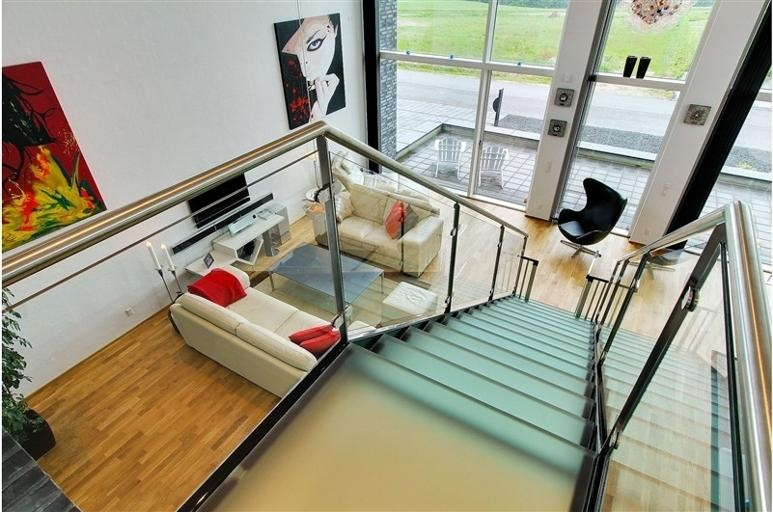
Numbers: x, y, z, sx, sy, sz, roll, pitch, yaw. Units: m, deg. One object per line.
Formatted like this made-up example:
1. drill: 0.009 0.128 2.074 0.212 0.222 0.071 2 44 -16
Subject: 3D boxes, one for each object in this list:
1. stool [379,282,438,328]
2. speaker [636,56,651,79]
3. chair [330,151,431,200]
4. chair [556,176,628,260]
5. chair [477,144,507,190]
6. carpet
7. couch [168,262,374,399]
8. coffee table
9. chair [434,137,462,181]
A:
1. stool: 0.174 0.423 3.805 0.348 0.201 0.343 15 35 26
2. speaker: 3.538 -2.600 5.942 0.157 0.274 0.074 14 38 13
3. chair: -0.057 -0.641 3.690 0.703 0.412 0.361 18 50 15
4. chair: 3.014 -0.521 6.485 0.836 0.950 0.784 -11 36 -12
5. chair: 1.930 -1.627 7.872 0.711 0.899 0.654 2 54 8
6. carpet: -0.739 0.290 5.279 1.243 0.299 0.662 21 44 15
7. couch: -1.316 0.845 4.696 2.069 0.748 0.918 21 40 29
8. coffee table: -0.651 0.308 4.255 0.974 0.237 0.521 20 52 25
9. chair: 1.177 -1.877 8.217 0.658 0.787 0.654 2 70 6
